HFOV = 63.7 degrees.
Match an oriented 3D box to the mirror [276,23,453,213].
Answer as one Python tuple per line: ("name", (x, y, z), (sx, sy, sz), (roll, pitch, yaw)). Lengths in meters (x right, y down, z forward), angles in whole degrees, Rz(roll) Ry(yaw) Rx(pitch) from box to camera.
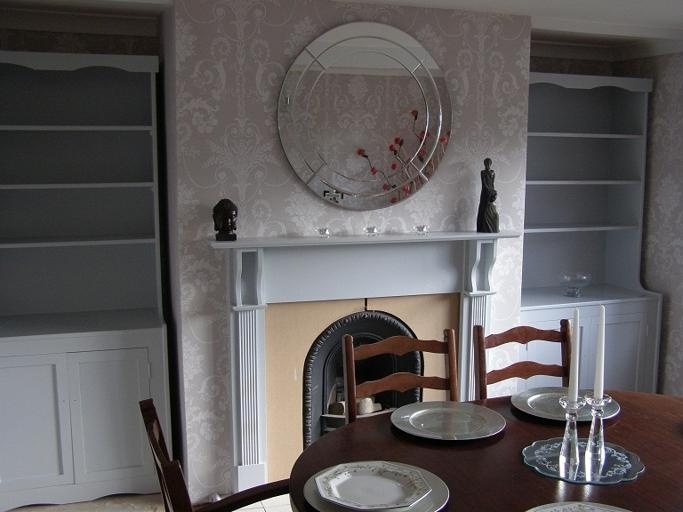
("mirror", (0.099, -0.872, 3.340), (1.095, 1.204, 0.020), (0, 6, -19))
